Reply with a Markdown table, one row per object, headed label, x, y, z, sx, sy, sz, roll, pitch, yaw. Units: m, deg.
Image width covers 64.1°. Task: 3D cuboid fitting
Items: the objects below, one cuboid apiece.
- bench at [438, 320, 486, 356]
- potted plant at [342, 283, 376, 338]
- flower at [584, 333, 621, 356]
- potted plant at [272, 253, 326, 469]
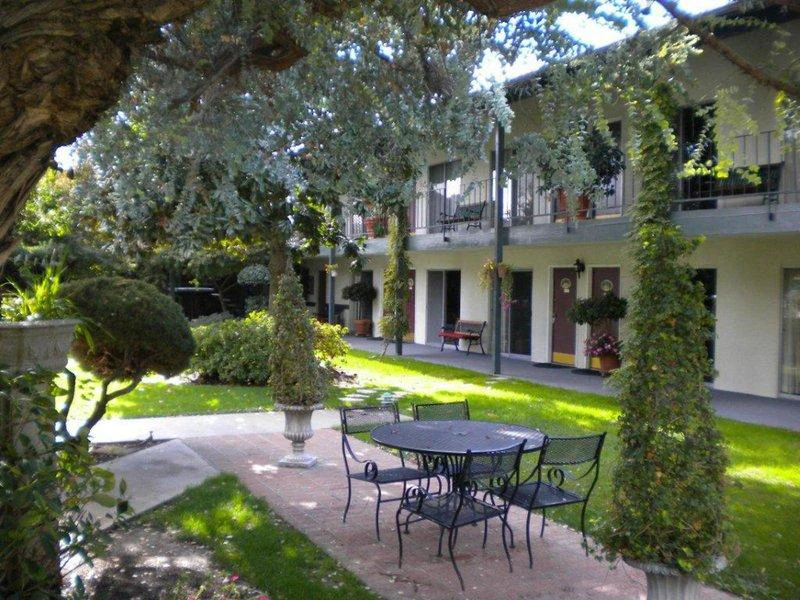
| label | x | y | z | sx | sy | sz | roll | pitch | yaw |
| --- | --- | --- | --- | --- | --- | --- | --- | --- | --- |
| bench | 1.472 | 0.889 | 16.640 | 0.962 | 0.792 | 2.092 | 0 | 3 | -17 |
| potted plant | -1.235 | 0.275 | 20.516 | 0.993 | 1.772 | 1.692 | 0 | 4 | -11 |
| flower | 3.690 | 0.813 | 11.515 | 0.487 | 0.386 | 0.491 | -2 | 2 | -34 |
| potted plant | -1.009 | 0.677 | 6.385 | 0.538 | 2.001 | 0.569 | 0 | 4 | -12 |
